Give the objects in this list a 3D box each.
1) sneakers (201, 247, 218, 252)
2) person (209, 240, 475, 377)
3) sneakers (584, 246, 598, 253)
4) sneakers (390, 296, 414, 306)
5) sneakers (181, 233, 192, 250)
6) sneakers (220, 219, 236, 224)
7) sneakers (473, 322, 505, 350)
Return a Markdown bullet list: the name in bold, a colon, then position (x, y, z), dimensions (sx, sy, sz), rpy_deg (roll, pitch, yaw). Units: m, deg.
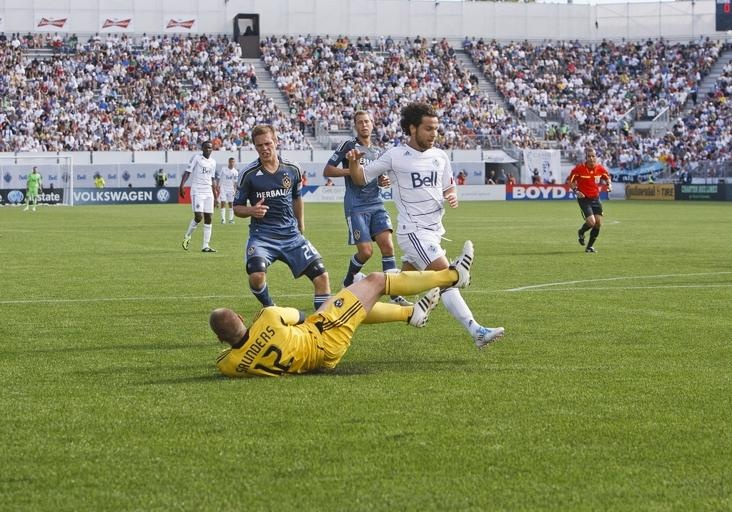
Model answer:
- **sneakers**: position (-3.117, -0.121, 21.058), dimensions (0.331, 0.121, 0.106), rpy_deg (-3, 12, -7)
- **person**: position (-0.294, 0.659, 11.900), dimensions (2.926, 1.096, 0.997), rpy_deg (-10, 0, -8)
- **sneakers**: position (4.363, -0.125, 20.678), dimensions (0.287, 0.114, 0.093), rpy_deg (-1, 18, -5)
- **sneakers**: position (0.493, 0.617, 14.537), dimensions (0.302, 0.122, 0.117), rpy_deg (1, 6, 19)
- **sneakers**: position (-3.610, -0.271, 21.473), dimensions (0.176, 0.227, 0.516), rpy_deg (32, 4, -23)
- **sneakers**: position (-4.114, -1.008, 31.034), dimensions (0.521, 0.207, 0.157), rpy_deg (-4, 2, 10)
- **sneakers**: position (1.380, 0.918, 12.240), dimensions (0.483, 0.249, 0.166), rpy_deg (-24, 26, 45)
